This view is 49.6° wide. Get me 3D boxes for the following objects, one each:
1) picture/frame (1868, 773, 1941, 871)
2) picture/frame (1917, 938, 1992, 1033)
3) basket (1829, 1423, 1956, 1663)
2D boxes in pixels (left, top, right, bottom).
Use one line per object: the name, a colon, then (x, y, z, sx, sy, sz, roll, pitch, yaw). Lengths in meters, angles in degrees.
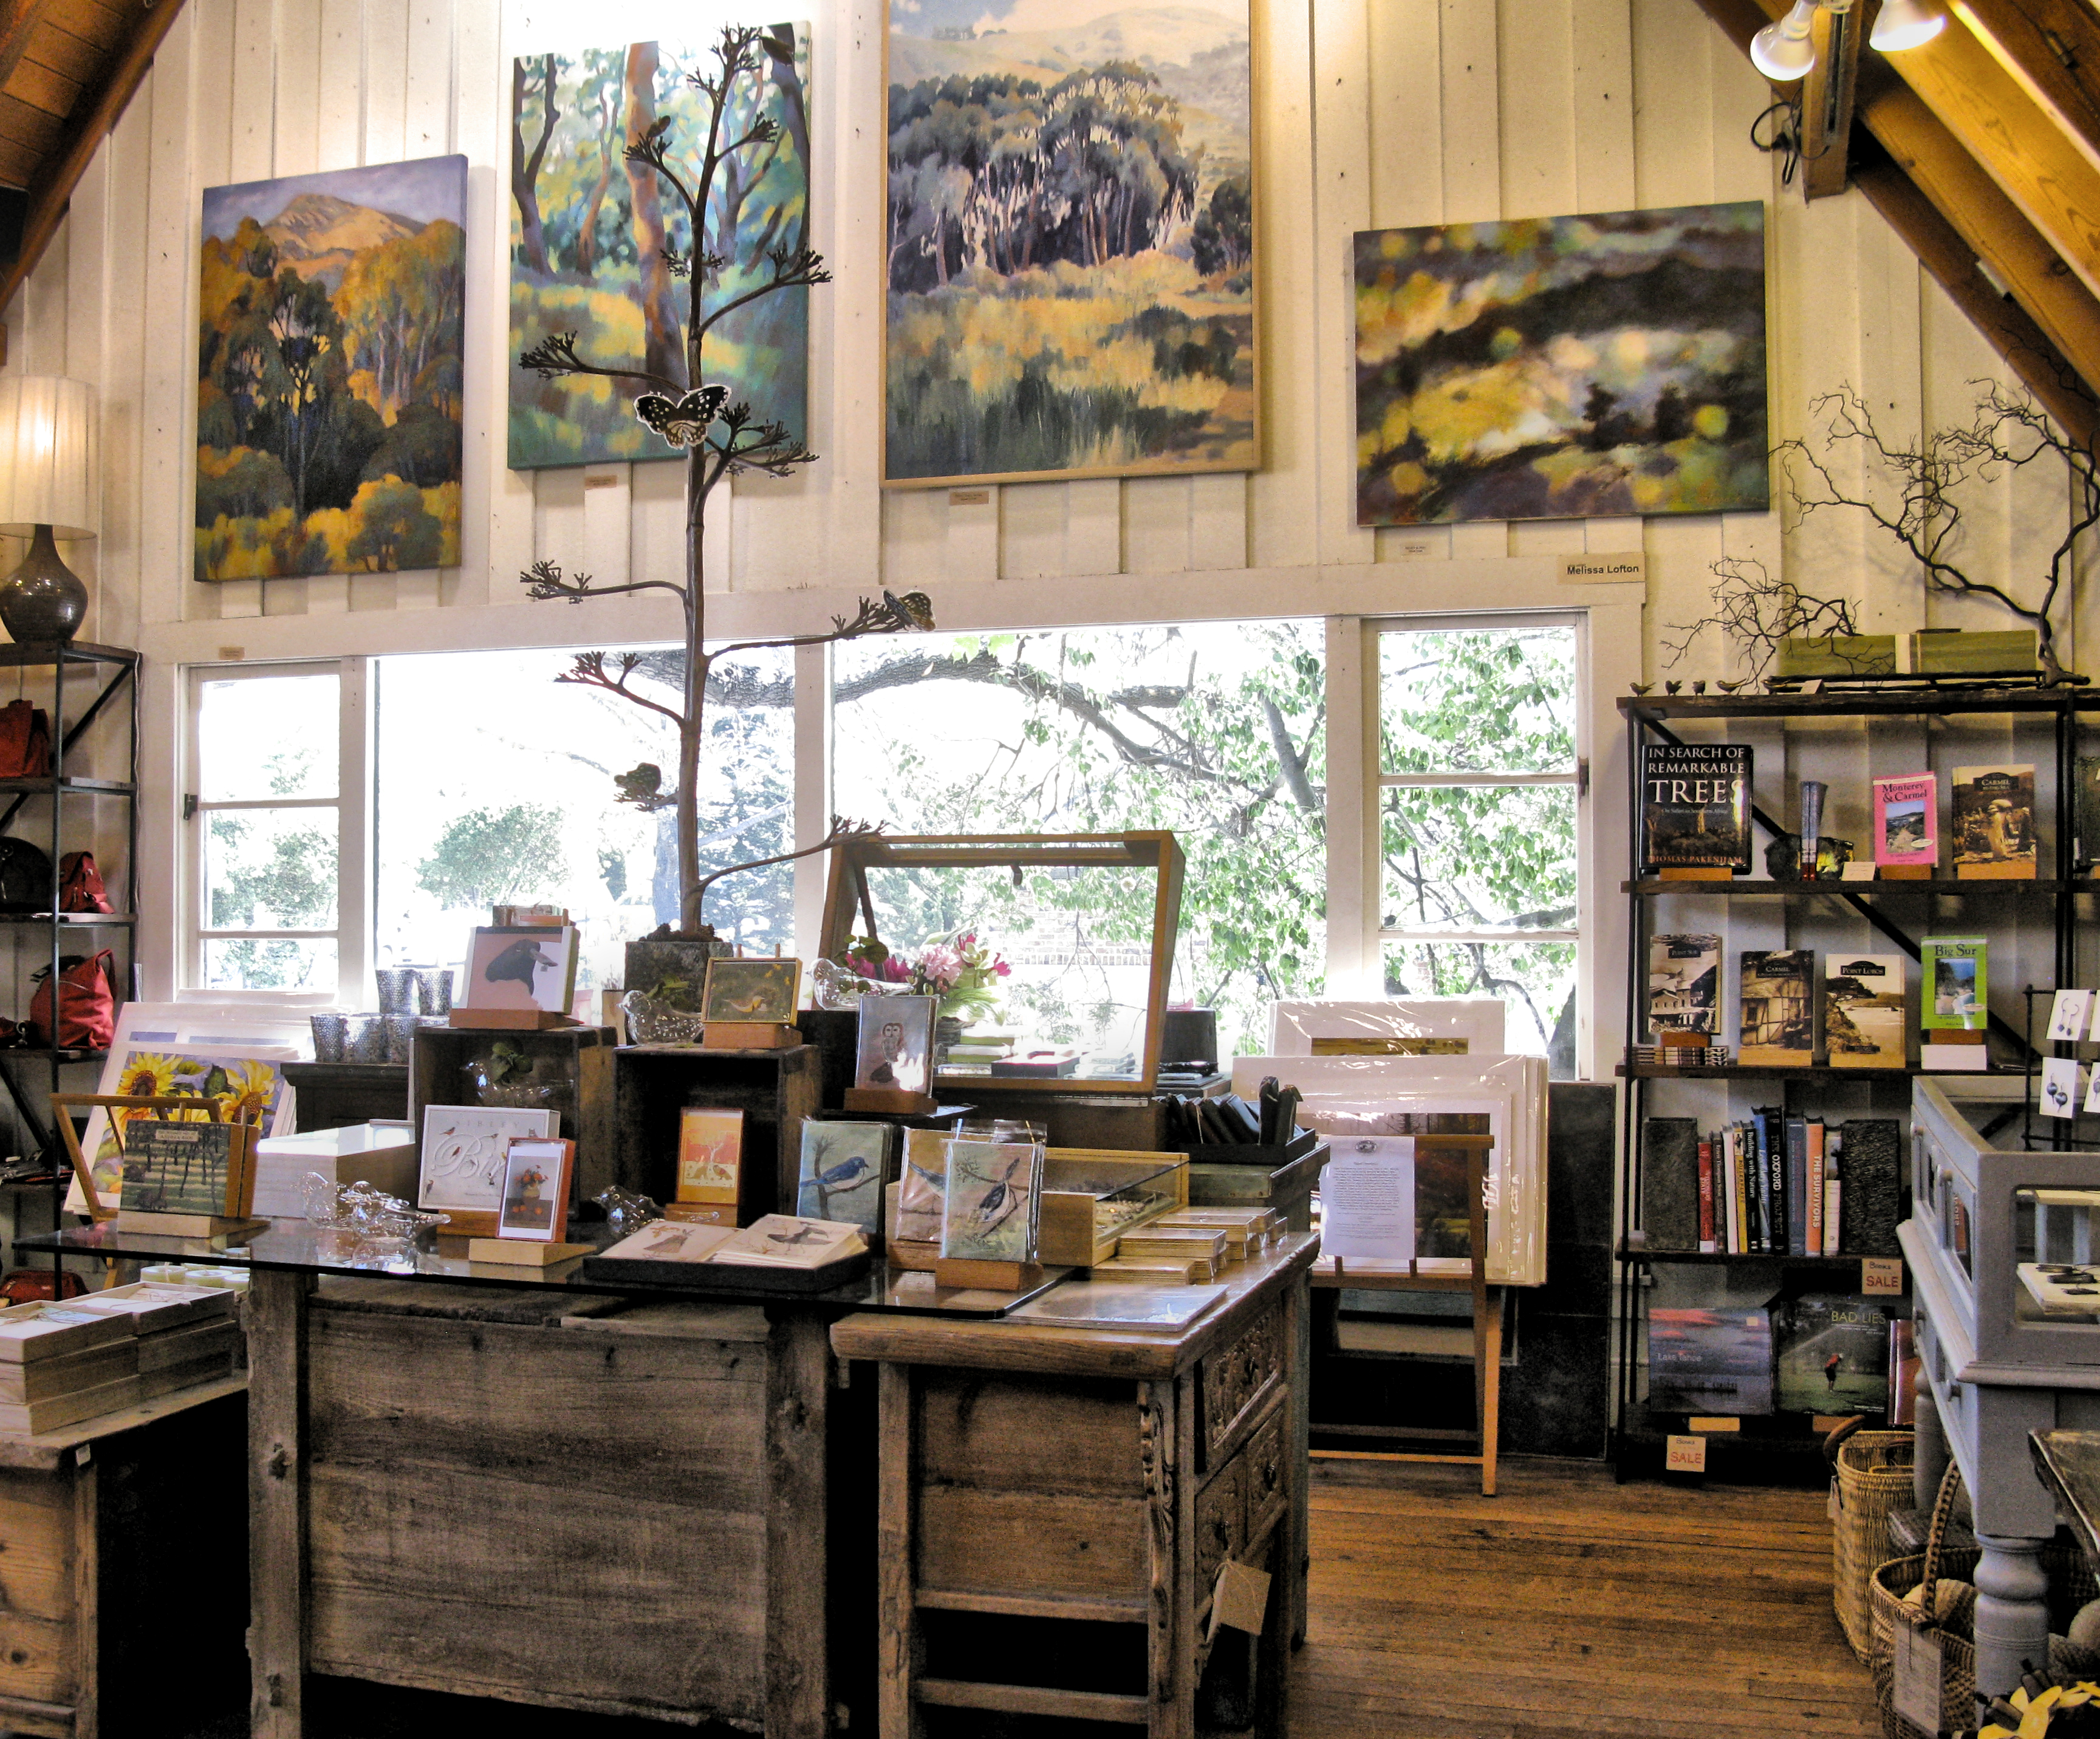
picture/frame: (2.418, -0.124, 6.477, 0.219, 0.361, 0.238, 0, -6, 18)
picture/frame: (2.528, 0.326, 6.401, 0.189, 0.272, 0.120, 8, 8, 19)
basket: (2.064, 1.607, 5.474, 0.251, 0.457, 0.433, 0, 0, 9)
